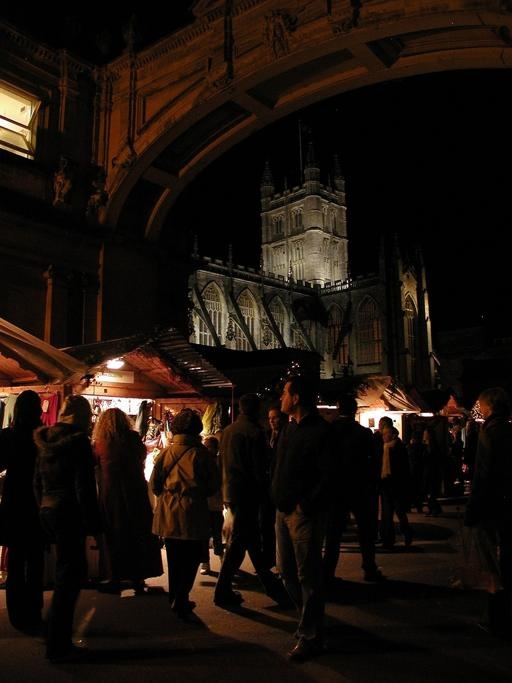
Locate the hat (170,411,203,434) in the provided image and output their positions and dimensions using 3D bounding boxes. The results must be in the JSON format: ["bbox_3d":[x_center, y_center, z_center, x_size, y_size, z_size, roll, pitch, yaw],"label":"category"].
[{"bbox_3d":[-0.578,0.683,6.108,0.170,0.231,0.223,2,3,8],"label":"hat"}]

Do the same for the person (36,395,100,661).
[{"bbox_3d":[-1.318,1.252,5.093,0.422,1.746,0.496,1,-5,-18],"label":"person"}]

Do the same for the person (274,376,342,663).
[{"bbox_3d":[0.303,1.185,5.116,0.397,1.889,0.494,1,-5,-17],"label":"person"}]

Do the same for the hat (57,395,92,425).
[{"bbox_3d":[-1.287,0.506,5.309,0.175,0.244,0.237,-2,-14,25],"label":"hat"}]
